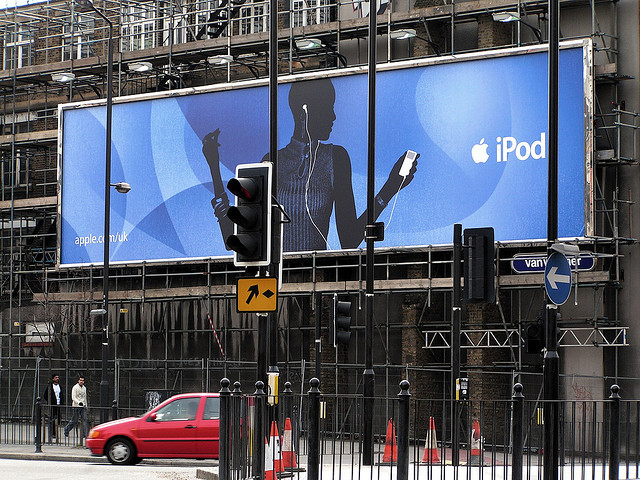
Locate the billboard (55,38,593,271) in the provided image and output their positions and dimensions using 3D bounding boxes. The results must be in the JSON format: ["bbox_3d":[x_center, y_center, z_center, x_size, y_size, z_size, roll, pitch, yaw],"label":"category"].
[{"bbox_3d":[-0.538,-2.531,57.324,19.891,7.332,0.282,-4,-15,15],"label":"billboard"}]

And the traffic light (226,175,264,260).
[{"bbox_3d":[-1.720,-0.493,37.998,0.695,2.236,0.807,0,0,22],"label":"traffic light"}]

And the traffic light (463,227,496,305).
[{"bbox_3d":[4.304,0.706,43.076,0.922,2.077,0.654,-4,-7,21],"label":"traffic light"}]

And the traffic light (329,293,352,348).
[{"bbox_3d":[0.617,2.459,47.008,0.823,1.536,0.836,-7,13,-35],"label":"traffic light"}]

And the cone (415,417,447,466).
[{"bbox_3d":[3.048,5.450,42.783,1.125,1.700,1.174,1,-9,-5],"label":"cone"}]

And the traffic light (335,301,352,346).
[{"bbox_3d":[0.698,2.438,46.892,0.494,1.254,0.593,-1,-7,-4],"label":"traffic light"}]
